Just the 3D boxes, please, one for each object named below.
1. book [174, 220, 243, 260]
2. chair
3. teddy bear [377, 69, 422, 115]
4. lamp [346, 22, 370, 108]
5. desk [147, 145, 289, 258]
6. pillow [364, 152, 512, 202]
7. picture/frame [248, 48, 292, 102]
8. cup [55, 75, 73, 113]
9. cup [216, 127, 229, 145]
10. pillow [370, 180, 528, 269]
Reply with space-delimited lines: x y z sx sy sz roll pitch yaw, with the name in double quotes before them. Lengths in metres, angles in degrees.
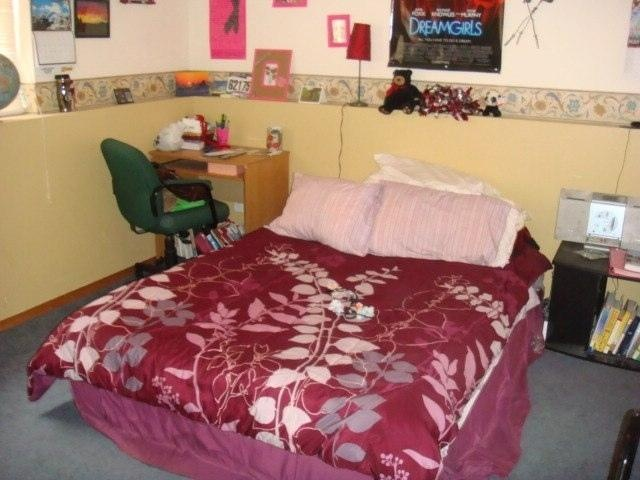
"book" -1.010 0.016 4.142 0.408 0.139 0.416 -15 -21 27
"chair" -1.235 -0.212 3.879 0.810 1.192 0.894 3 17 8
"teddy bear" 0.610 -1.162 3.776 0.304 0.311 0.232 5 36 20
"lamp" 0.300 -1.383 3.857 0.183 0.621 0.222 5 20 7
"desk" -0.866 -0.591 4.229 1.130 0.972 0.740 14 21 30
"pillow" 0.790 -0.459 3.497 0.748 0.130 0.471 17 21 11
"picture/frame" -0.426 -1.455 4.238 0.417 0.479 0.047 11 14 23
"cup" -1.880 -1.082 3.568 0.125 0.259 0.119 2 20 -1
"cup" -0.872 -0.918 4.297 0.137 0.220 0.146 4 16 -1
"pillow" 0.780 -0.085 3.099 0.848 0.504 0.249 13 -19 12
